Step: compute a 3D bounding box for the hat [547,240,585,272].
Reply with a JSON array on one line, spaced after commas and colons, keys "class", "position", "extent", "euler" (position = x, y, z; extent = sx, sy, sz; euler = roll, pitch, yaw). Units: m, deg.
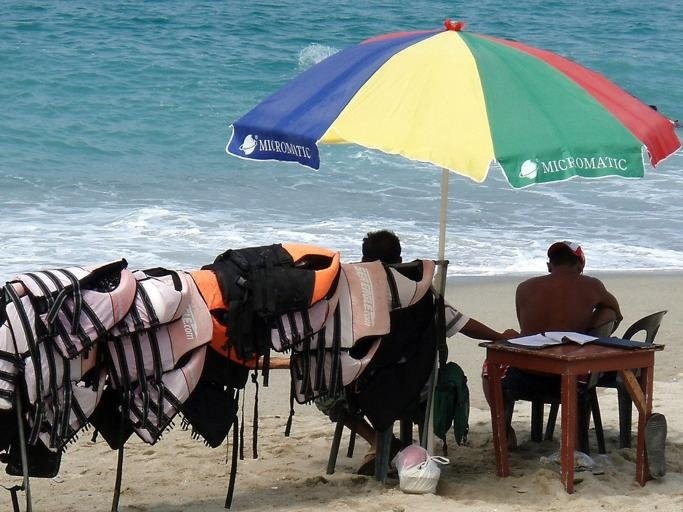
[{"class": "hat", "position": [1.894, -0.028, 9.197], "extent": [0.239, 0.164, 0.311], "euler": [5, 9, -6]}]

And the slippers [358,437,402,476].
[{"class": "slippers", "position": [0.303, 1.652, 8.939], "extent": [0.214, 0.184, 0.544], "euler": [7, -42, -27]}]

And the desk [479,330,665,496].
[{"class": "desk", "position": [1.898, 1.238, 8.778], "extent": [1.540, 0.961, 1.313], "euler": [0, -1, 19]}]
